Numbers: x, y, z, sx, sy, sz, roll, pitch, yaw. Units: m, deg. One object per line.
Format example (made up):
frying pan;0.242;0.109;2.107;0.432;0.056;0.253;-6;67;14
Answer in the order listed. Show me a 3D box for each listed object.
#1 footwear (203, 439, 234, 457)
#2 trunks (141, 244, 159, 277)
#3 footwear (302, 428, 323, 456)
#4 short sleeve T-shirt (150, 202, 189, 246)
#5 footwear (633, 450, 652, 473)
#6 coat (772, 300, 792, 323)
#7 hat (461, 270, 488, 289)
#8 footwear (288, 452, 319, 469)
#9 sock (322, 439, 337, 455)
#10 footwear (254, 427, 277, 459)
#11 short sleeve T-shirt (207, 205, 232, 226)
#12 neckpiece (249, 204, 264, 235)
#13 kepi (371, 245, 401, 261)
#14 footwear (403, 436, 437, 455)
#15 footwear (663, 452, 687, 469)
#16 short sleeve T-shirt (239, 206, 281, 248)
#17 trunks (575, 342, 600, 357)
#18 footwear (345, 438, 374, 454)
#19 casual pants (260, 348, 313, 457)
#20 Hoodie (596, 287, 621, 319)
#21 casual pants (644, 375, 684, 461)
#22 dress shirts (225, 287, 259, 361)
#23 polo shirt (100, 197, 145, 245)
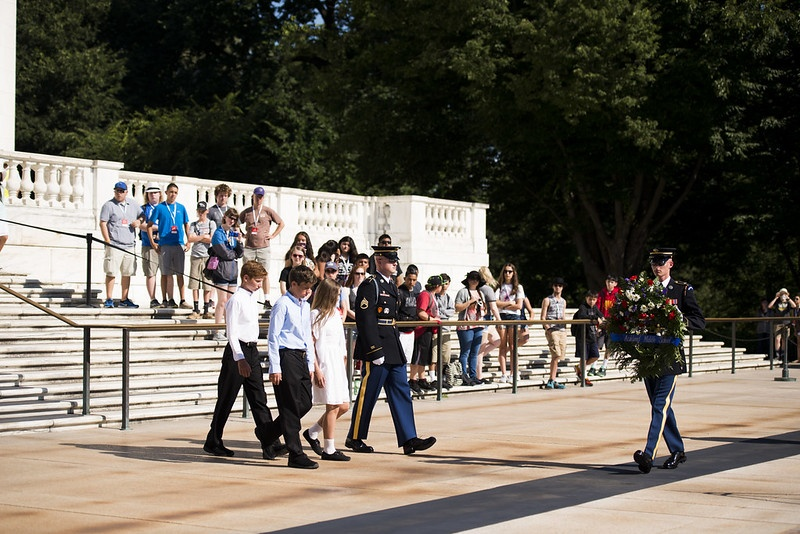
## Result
footwear;-3.852;3.795;33.616;0.635;0.216;0.286;6;4;8
trunks;-6.404;-0.127;40.740;0.434;0.788;0.480;2;-5;-10
footwear;-1.822;3.734;33.929;0.278;0.687;0.258;-27;8;18
short sleeve T-shirt;-5.908;-1.094;40.474;1.246;1.175;0.677;1;-4;-39
footwear;5.056;3.977;32.786;0.248;0.269;0.564;2;-40;49
coat;11.903;1.367;49.116;0.453;0.730;0.674;16;-16;-43
hat;1.918;0.318;41.138;0.524;0.231;0.484;4;-2;-17
footwear;-1.988;4.007;33.035;0.589;0.211;0.301;0;1;15
sock;-1.465;3.749;33.579;0.267;0.326;0.292;1;-5;-1
footwear;-2.869;3.678;33.540;0.397;0.794;0.291;-9;7;26
short sleeve T-shirt;-4.561;-1.287;40.188;0.653;0.544;0.337;0;-1;-32
neckpiece;-3.751;-1.198;41.377;0.266;0.692;0.117;0;-5;13
kepi;-0.310;-0.331;34.126;0.422;0.187;0.415;6;2;44
footwear;0.431;3.727;33.851;0.833;0.324;0.290;-13;6;7
footwear;5.778;4.015;33.172;0.612;0.219;0.235;-1;-9;-43
short sleeve T-shirt;-3.632;-1.065;41.652;1.485;1.059;0.672;2;6;24
trunks;5.123;2.084;42.893;0.736;0.630;0.397;2;-7;-7
footwear;-0.876;3.810;34.074;0.734;0.257;0.247;1;-3;9
casual pants;-2.234;2.800;33.188;0.778;2.191;0.277;1;-5;-4
Hoodie;5.084;0.877;38.414;0.318;0.748;0.669;26;-8;-35
casual pants;5.458;3.097;33.222;0.978;1.726;0.485;5;-6;-39
dress shirts;-3.362;1.107;33.758;0.695;1.513;1.270;7;15;11
polo shirt;-7.048;-1.143;40.241;1.461;1.368;0.785;1;-2;-45
